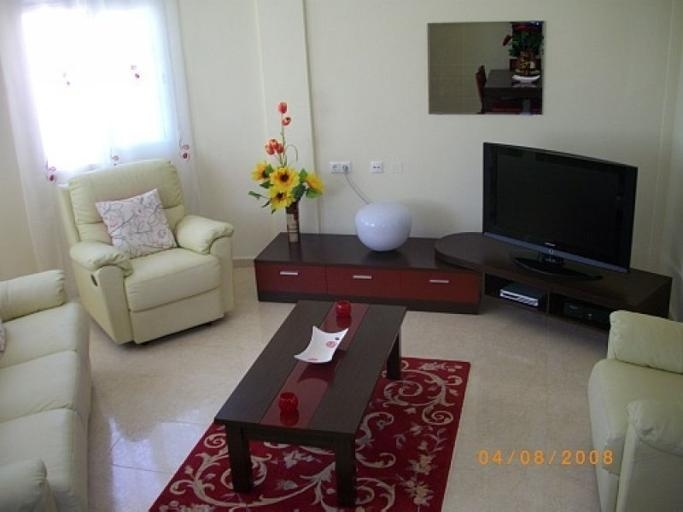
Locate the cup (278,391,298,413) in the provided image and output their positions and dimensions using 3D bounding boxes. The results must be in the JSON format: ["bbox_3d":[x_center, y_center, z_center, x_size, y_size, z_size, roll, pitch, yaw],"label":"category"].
[{"bbox_3d":[-0.259,0.726,2.687,0.103,0.081,0.087,-11,21,-21],"label":"cup"}]

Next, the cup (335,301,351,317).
[{"bbox_3d":[0.010,0.338,3.441,0.082,0.064,0.082,1,16,0],"label":"cup"}]

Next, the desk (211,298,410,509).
[{"bbox_3d":[-0.127,0.713,2.843,0.769,0.518,1.324,3,27,11],"label":"desk"}]

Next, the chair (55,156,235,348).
[{"bbox_3d":[-1.529,-0.056,4.359,1.174,1.261,0.904,-14,22,-28],"label":"chair"}]

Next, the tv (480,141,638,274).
[{"bbox_3d":[1.578,-0.352,3.951,0.267,0.826,1.167,-26,31,-33],"label":"tv"}]

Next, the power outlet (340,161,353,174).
[{"bbox_3d":[0.044,-0.792,4.863,0.144,0.148,0.080,1,14,2],"label":"power outlet"}]

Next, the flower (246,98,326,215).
[{"bbox_3d":[-0.492,-0.815,4.815,0.600,0.902,0.601,-1,7,-13],"label":"flower"}]

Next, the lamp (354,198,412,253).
[{"bbox_3d":[0.350,-0.251,4.666,0.395,0.355,0.409,-3,14,-1],"label":"lamp"}]
